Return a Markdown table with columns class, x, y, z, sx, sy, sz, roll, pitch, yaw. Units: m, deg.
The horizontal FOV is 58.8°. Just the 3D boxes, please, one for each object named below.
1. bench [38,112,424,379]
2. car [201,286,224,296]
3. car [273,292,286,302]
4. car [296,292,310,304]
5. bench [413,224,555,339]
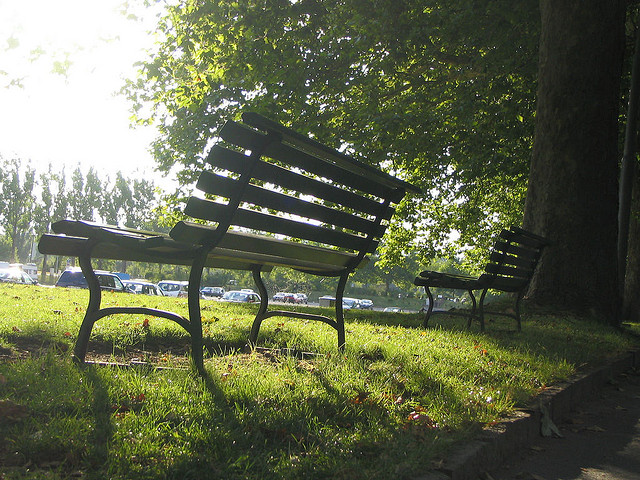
| class | x | y | z | sx | sy | sz | roll | pitch | yaw |
| --- | --- | --- | --- | --- | --- | --- | --- | --- | --- |
| bench | -0.796 | 0.105 | 5.218 | 2.916 | 2.035 | 2.172 | 3 | -3 | -24 |
| car | -13.750 | 6.762 | 71.895 | 2.378 | 1.257 | 1.476 | -4 | -4 | 32 |
| car | -5.411 | 7.474 | 74.782 | 1.014 | 0.983 | 1.748 | 0 | -12 | 1 |
| car | -2.376 | 7.770 | 76.216 | 1.527 | 1.048 | 2.126 | 5 | -14 | -20 |
| bench | 2.441 | 0.684 | 8.370 | 1.384 | 1.617 | 1.784 | 1 | -6 | 41 |
